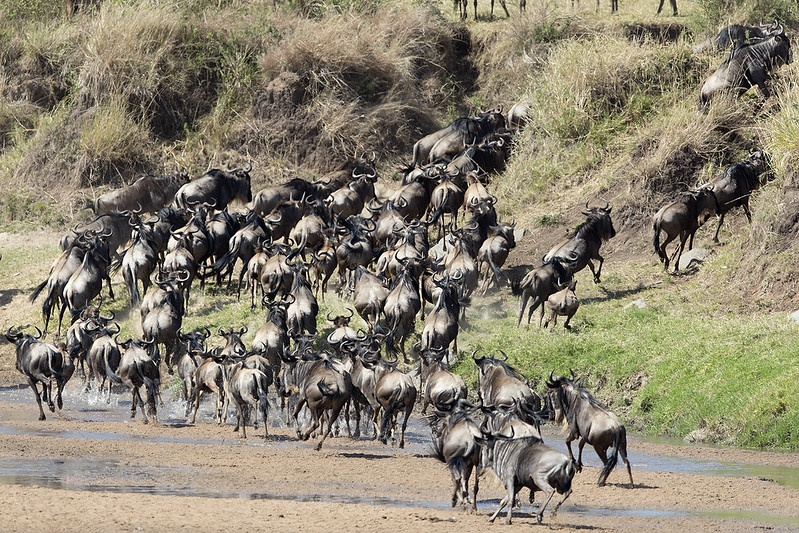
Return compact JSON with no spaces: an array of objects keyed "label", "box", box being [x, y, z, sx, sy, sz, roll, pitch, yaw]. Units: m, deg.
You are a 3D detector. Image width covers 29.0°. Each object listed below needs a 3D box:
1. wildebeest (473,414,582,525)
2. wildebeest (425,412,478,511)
[{"label":"wildebeest","box":[2.937,5.008,36.308,2.265,2.035,0.921,6,6,14]},{"label":"wildebeest","box":[1.482,4.600,38.091,0.905,2.544,3.343,2,0,-5]}]
